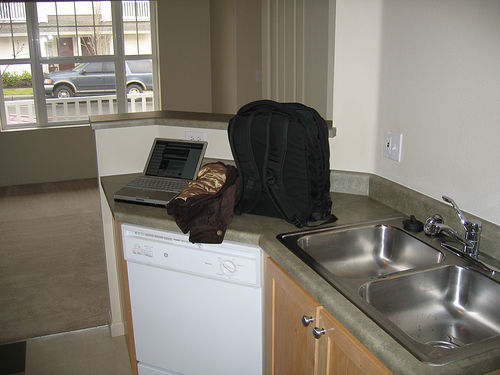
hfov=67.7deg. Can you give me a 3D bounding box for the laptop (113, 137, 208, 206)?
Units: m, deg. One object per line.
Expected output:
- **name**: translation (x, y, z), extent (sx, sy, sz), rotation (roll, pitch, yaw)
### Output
- **laptop**: translation (-0.462, -0.095, 1.959), extent (0.379, 0.275, 0.362), rotation (4, 16, 19)

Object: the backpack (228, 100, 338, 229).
- **backpack**: translation (0.133, -0.121, 1.731), extent (0.529, 0.577, 0.324), rotation (13, 26, 36)
